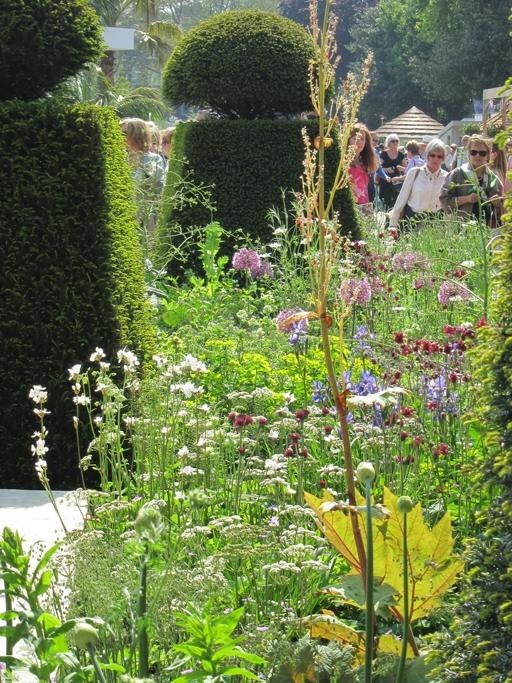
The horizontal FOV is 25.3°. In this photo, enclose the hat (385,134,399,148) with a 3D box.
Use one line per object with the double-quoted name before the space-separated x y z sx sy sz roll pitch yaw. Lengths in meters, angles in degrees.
"hat" 1.628 -2.392 13.646 0.163 0.161 0.205 0 1 -1
